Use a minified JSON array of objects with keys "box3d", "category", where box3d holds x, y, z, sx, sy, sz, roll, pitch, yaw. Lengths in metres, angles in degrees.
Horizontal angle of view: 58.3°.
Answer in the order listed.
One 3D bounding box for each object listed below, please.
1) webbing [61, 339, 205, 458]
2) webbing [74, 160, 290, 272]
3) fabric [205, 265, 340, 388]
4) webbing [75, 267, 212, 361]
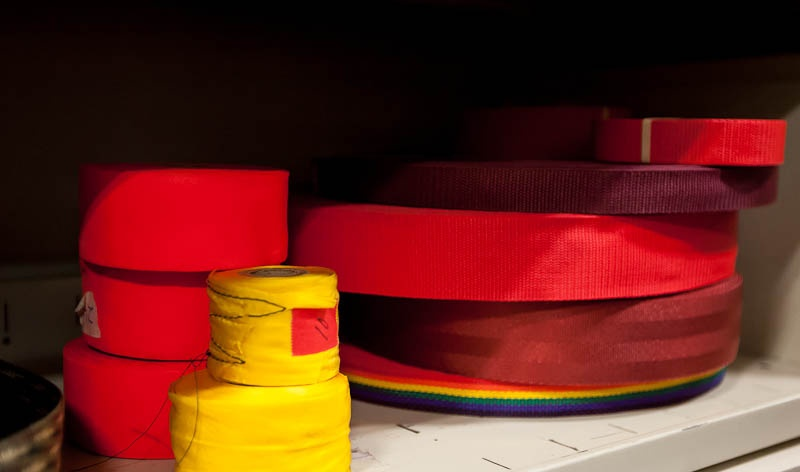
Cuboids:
[{"box3d":[-0.427,0.243,1.138,0.223,0.113,0.210,14,-6,-2],"category":"webbing"},{"box3d":[-0.340,-0.022,1.163,0.333,0.138,0.312,-2,0,-16],"category":"webbing"},{"box3d":[-0.168,0.133,1.006,0.189,0.120,0.170,-1,-3,-17],"category":"fabric"},{"box3d":[-0.375,0.112,1.043,0.160,0.086,0.157,1,0,32],"category":"webbing"}]
